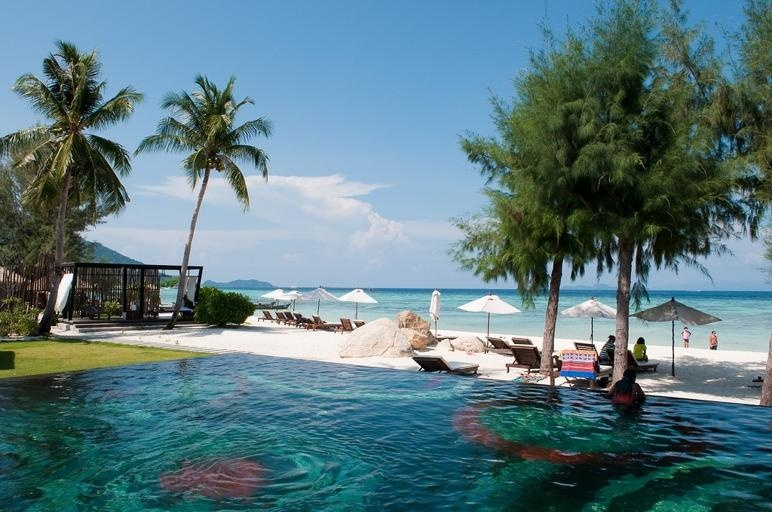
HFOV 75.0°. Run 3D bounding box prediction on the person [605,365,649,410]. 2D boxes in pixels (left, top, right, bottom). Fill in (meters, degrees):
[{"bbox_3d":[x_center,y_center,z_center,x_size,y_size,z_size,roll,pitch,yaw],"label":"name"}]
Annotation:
[{"bbox_3d":[7.346,4.057,15.569,1.139,1.478,0.932,4,23,13],"label":"person"}]
